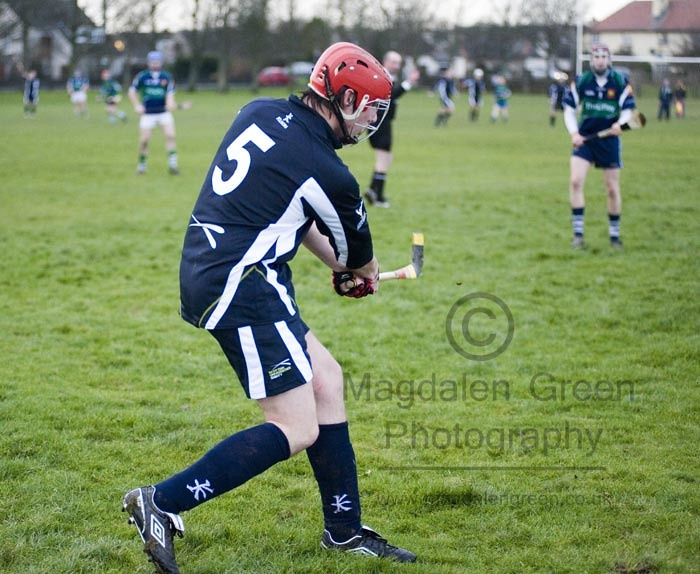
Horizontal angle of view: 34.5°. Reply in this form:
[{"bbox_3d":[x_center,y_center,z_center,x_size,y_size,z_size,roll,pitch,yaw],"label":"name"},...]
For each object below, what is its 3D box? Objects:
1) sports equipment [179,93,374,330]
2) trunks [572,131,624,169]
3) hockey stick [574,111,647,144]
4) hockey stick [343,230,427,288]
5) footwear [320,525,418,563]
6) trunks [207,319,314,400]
[{"bbox_3d":[-0.366,-0.370,5.945,0.903,1.130,1.229,18,30,29],"label":"sports equipment"},{"bbox_3d":[1.556,-0.835,7.078,0.303,0.211,0.079,2,8,7],"label":"trunks"},{"bbox_3d":[1.635,-1.000,7.076,0.449,0.124,0.173,-22,53,-8],"label":"hockey stick"},{"bbox_3d":[0.145,-0.158,6.340,0.072,0.307,0.771,-2,-4,41],"label":"hockey stick"},{"bbox_3d":[0.112,1.345,6.062,0.521,0.210,0.188,6,-6,1],"label":"footwear"},{"bbox_3d":[-0.459,0.389,5.896,0.260,0.329,0.459,-27,0,17],"label":"trunks"}]
